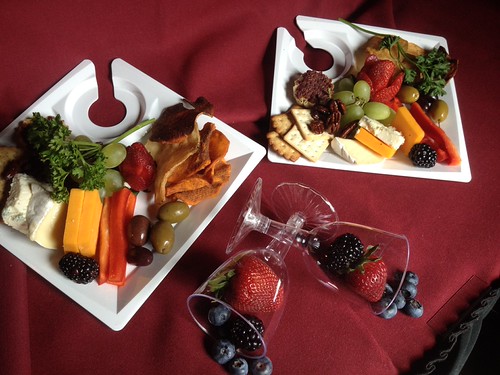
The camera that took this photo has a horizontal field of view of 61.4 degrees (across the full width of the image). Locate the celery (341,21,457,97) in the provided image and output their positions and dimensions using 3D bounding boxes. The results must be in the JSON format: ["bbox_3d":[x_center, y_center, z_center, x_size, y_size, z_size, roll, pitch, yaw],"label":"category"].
[{"bbox_3d":[0.839,-0.669,2.351,0.516,0.302,0.198,28,-23,21],"label":"celery"}]

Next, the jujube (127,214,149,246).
[{"bbox_3d":[-0.529,0.201,1.986,0.095,0.144,0.095,7,-7,-44],"label":"jujube"}]

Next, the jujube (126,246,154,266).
[{"bbox_3d":[-0.516,0.326,1.997,0.100,0.089,0.080,12,-8,18],"label":"jujube"}]

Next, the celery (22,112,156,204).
[{"bbox_3d":[-0.744,-0.094,1.968,0.437,0.234,0.468,-15,27,18],"label":"celery"}]

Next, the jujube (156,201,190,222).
[{"bbox_3d":[-0.376,0.101,2.005,0.124,0.088,0.089,-10,35,-19],"label":"jujube"}]
